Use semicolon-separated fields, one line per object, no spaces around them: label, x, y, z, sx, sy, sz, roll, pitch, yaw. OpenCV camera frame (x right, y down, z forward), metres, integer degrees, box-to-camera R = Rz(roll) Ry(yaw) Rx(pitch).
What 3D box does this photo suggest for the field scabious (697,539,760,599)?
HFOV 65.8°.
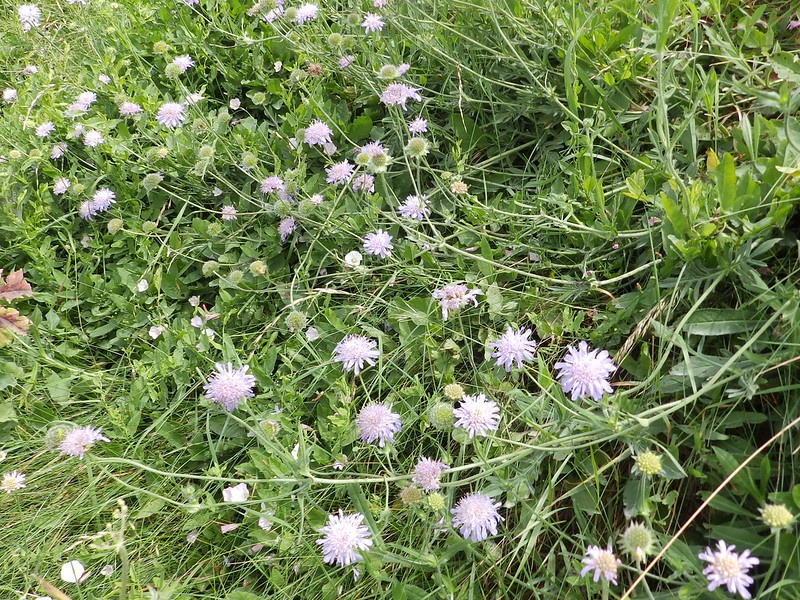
field scabious;0.962;0.793;1.825;0.147;0.137;0.148;11;62;31
